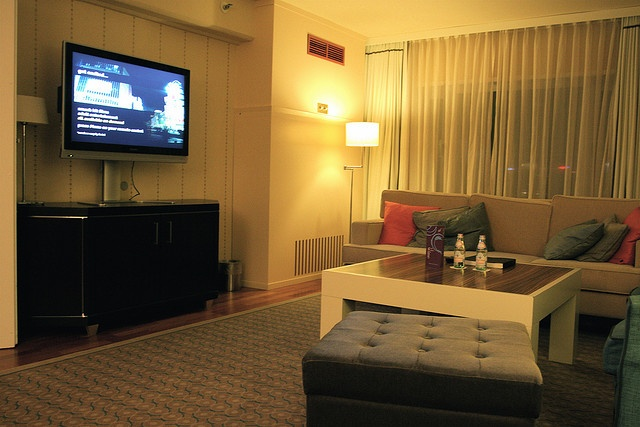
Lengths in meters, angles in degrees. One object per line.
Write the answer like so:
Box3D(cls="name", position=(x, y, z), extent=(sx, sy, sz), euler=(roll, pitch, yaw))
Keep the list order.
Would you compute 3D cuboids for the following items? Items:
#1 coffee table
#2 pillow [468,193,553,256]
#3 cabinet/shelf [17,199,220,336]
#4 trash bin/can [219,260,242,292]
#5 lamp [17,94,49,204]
Box3D(cls="coffee table", position=(1.076, 0.846, 3.537), extent=(1.247, 0.399, 1.259), euler=(13, -2, 43))
Box3D(cls="pillow", position=(2.013, 0.110, 5.147), extent=(1.012, 0.645, 0.551), euler=(2, 2, 36))
Box3D(cls="cabinet/shelf", position=(-1.741, 0.445, 4.625), extent=(0.696, 0.983, 1.965), euler=(2, 2, 35))
Box3D(cls="trash bin/can", position=(-1.002, 0.706, 5.530), extent=(0.337, 0.310, 0.321), euler=(-2, 4, -25))
Box3D(cls="lamp", position=(-2.366, -0.526, 3.988), extent=(0.234, 0.864, 0.406), euler=(-5, 12, -31))
